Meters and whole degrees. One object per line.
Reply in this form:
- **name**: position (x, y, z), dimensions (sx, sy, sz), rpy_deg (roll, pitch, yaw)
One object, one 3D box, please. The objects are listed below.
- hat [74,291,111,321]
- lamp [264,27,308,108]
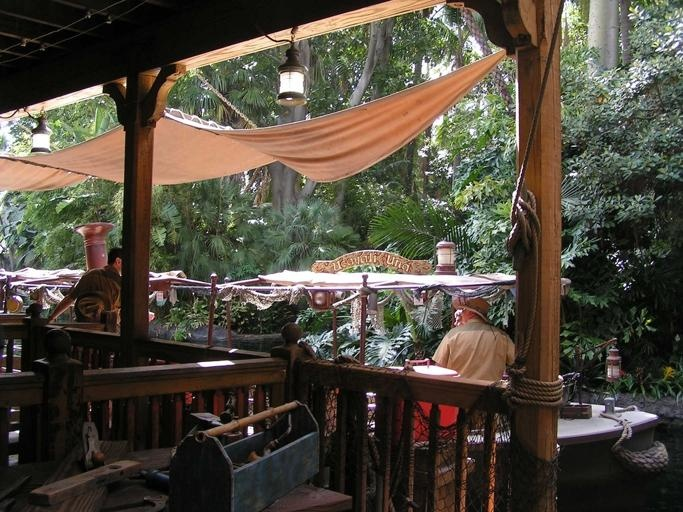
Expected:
- **hat**: position (-2.652, 0.546, 7.093), dimensions (0.357, 0.383, 0.269), rpy_deg (7, -5, -2)
- **lamp**: position (-0.490, -1.760, 6.021), dimensions (0.441, 0.707, 0.255), rpy_deg (-1, -4, -36)
